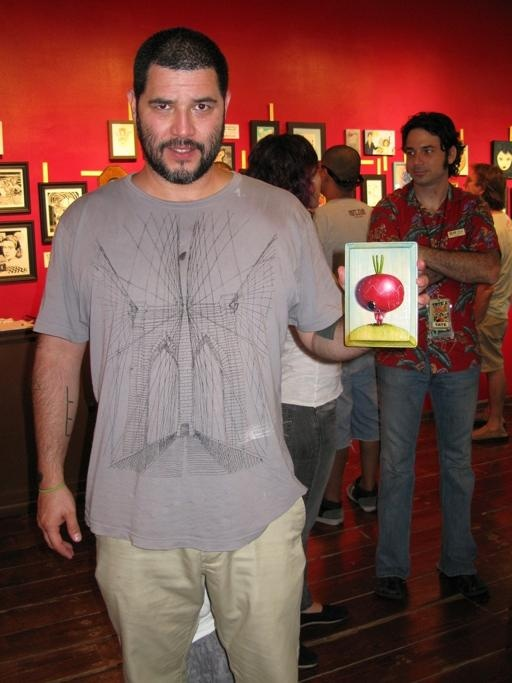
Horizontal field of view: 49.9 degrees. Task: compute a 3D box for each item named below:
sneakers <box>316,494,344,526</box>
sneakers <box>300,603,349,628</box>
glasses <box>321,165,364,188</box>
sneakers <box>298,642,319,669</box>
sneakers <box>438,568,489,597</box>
[{"bbox_3d":[0.363,0.852,2.746,0.075,0.078,0.193,1,-2,-14],"label":"sneakers"},{"bbox_3d":[0.245,0.970,1.945,0.178,0.065,0.065,-4,8,-7],"label":"sneakers"},{"bbox_3d":[0.453,-0.829,2.829,0.149,0.038,0.144,3,22,-42],"label":"glasses"},{"bbox_3d":[0.165,0.997,1.751,0.058,0.058,0.155,-11,-24,16],"label":"sneakers"},{"bbox_3d":[0.793,0.929,2.131,0.075,0.078,0.197,1,-6,-25],"label":"sneakers"}]
